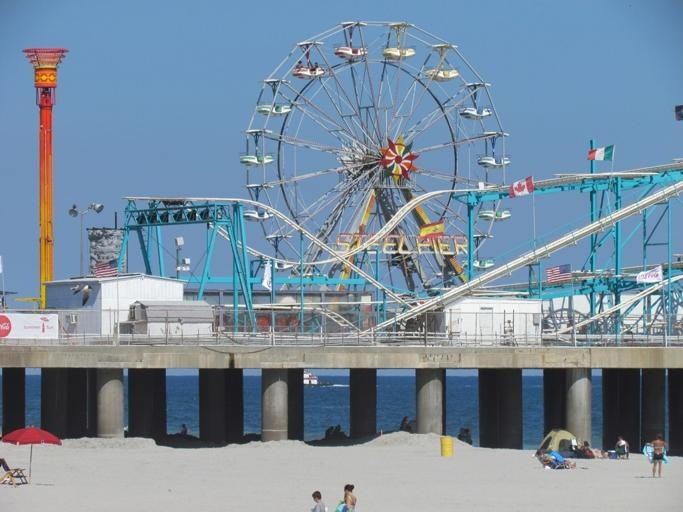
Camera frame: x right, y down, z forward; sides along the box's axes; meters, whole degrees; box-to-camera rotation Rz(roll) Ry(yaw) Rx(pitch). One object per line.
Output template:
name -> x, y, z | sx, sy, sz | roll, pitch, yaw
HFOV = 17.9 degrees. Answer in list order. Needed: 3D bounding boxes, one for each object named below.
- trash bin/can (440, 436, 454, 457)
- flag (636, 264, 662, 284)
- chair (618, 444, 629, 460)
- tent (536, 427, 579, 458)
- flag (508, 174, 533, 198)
trash bin/can -> 6.054, 10.552, 121.568 | 0.889, 1.004, 0.882 | 2, -3, -30
flag -> 19.847, 1.063, 138.548 | 1.297, 0.979, 0.112 | 7, 29, 17
chair -> 16.093, 10.926, 122.882 | 0.663, 0.868, 0.712 | 1, 1, 7
tent -> 12.218, 10.273, 121.134 | 1.791, 0.932, 1.585 | -1, 0, -19
flag -> 12.255, -4.744, 145.072 | 0.949, 0.973, 2.678 | 1, -7, -18
